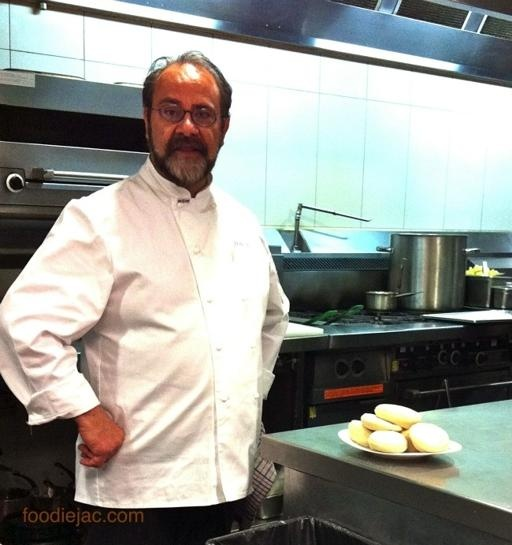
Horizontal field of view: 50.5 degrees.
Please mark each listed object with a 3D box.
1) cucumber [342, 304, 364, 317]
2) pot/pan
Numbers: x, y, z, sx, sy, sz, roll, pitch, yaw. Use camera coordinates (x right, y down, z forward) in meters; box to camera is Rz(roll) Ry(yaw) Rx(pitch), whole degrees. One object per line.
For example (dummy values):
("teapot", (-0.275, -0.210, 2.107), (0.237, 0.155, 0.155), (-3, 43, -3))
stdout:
("cucumber", (0.464, 0.187, 2.549), (0.070, 0.055, 0.228), (5, -7, 8))
("pot/pan", (1.053, -0.017, 3.072), (0.784, 0.436, 0.416), (1, 1, 5))
